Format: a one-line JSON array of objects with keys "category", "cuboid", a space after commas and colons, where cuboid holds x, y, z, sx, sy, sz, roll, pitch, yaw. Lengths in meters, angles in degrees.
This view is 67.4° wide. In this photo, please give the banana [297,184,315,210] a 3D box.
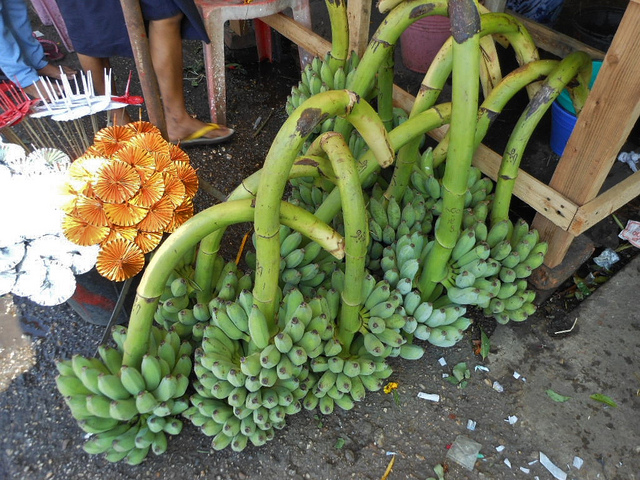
[{"category": "banana", "cuboid": [-0.073, -0.243, 2.690, 0.167, 0.049, 0.058, 61, 33, -9]}]

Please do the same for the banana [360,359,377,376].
[{"category": "banana", "cuboid": [0.220, 0.581, 2.195, 0.079, 0.054, 0.072, 2, 49, -1]}]

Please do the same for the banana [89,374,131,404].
[{"category": "banana", "cuboid": [-0.847, 0.606, 1.941, 0.096, 0.197, 0.072, -25, 71, -9]}]

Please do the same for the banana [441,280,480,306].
[{"category": "banana", "cuboid": [0.691, 0.269, 2.360, 0.056, 0.153, 0.111, 11, 62, -41]}]

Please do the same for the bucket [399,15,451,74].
[{"category": "bucket", "cuboid": [0.883, -1.637, 3.963, 0.338, 0.425, 0.380, 12, 34, 15]}]
